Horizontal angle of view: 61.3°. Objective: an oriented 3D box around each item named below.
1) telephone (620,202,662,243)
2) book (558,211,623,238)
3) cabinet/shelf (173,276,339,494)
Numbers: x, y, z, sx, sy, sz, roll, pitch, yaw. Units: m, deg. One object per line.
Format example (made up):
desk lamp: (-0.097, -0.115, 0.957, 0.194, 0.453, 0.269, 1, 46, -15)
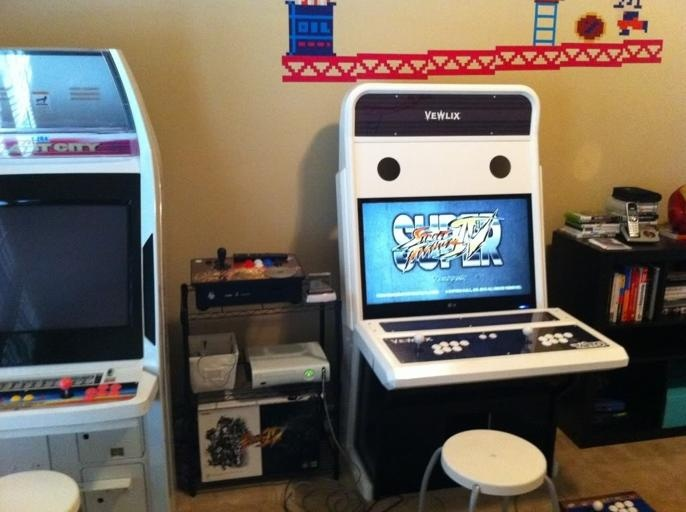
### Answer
telephone: (1.557, -0.175, 3.040, 0.179, 0.207, 0.146, 1, 14, 19)
book: (1.325, -0.162, 3.083, 0.288, 0.128, 0.116, 1, 14, 21)
cabinet/shelf: (-0.442, 0.646, 2.778, 1.009, 1.180, 0.425, -2, 6, -12)
